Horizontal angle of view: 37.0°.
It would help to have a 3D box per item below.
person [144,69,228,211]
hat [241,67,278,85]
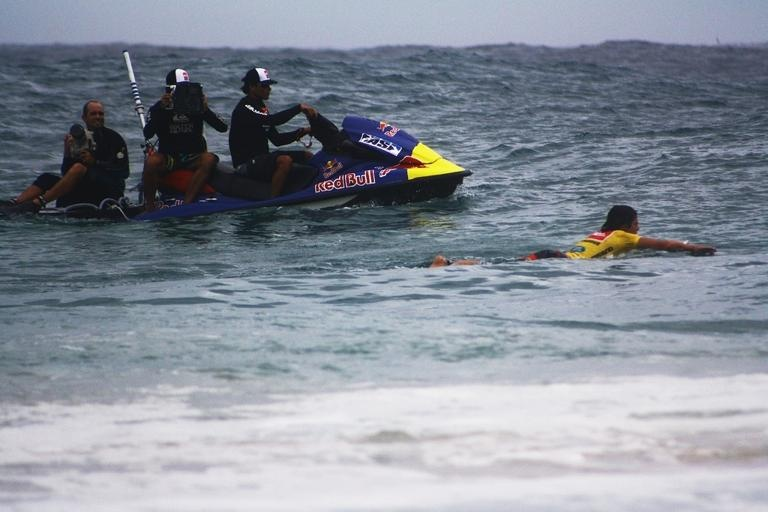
[{"bbox_3d":[-3.218,-1.822,18.187,1.228,2.267,0.624,4,15,-8],"label":"person"},{"bbox_3d":[-2.006,-2.864,18.272,0.394,0.238,0.375,9,12,33],"label":"hat"}]
